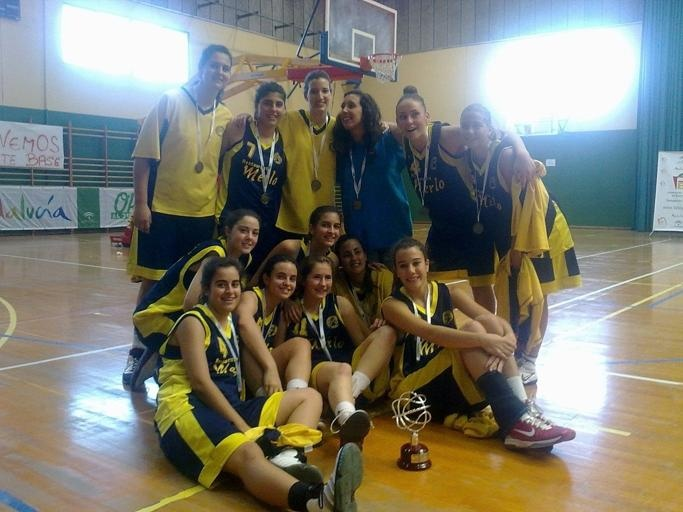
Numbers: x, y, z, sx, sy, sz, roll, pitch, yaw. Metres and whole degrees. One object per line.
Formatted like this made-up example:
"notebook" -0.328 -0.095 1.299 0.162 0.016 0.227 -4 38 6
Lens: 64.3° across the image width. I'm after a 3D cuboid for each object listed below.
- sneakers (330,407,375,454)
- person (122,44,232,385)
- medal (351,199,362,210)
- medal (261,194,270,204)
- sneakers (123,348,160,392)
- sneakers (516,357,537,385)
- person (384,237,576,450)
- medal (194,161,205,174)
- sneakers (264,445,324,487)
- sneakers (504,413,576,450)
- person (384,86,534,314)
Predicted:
"sneakers" 0.049 0.828 2.603 0.102 0.321 0.127 2 50 -5
"person" -1.056 -0.269 3.704 0.719 2.262 0.589 7 5 -25
"medal" 0.108 -0.361 3.796 0.063 0.065 0.016 7 1 24
"medal" -0.526 -0.391 3.737 0.007 0.049 0.053 19 -10 44
"sneakers" -1.238 0.714 3.388 0.083 0.254 0.110 32 -7 -41
"sneakers" 1.152 0.743 3.473 0.132 0.191 0.188 2 -12 -7
"person" 0.931 0.426 3.265 0.633 1.383 1.218 -16 7 -43
"medal" -0.946 -0.588 3.612 0.062 0.080 0.030 -3 7 -18
"sneakers" -0.210 0.912 2.424 0.169 0.268 0.091 -2 21 30
"sneakers" 0.938 0.849 2.629 0.343 0.187 0.140 -10 3 26
"person" 0.866 -0.478 4.025 0.833 1.582 0.427 -13 8 35
